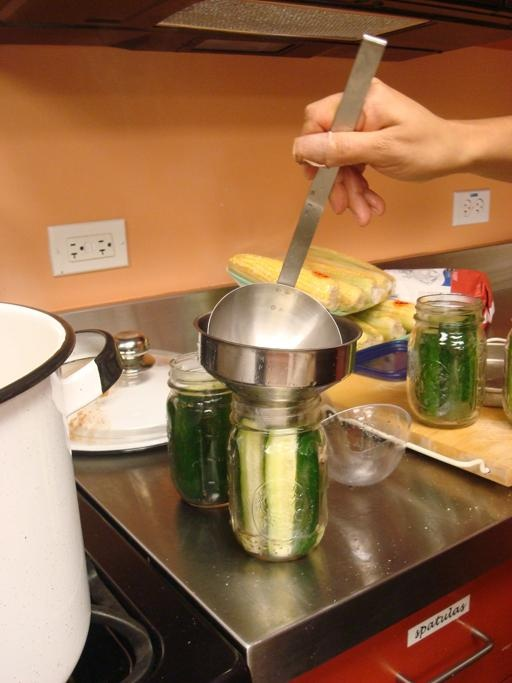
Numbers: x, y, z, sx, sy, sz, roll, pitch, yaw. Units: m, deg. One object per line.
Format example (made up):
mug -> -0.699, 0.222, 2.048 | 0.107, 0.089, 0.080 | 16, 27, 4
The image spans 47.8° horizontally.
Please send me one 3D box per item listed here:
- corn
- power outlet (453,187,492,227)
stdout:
corn -> 0.160, -0.123, 1.142 | 0.320, 0.183, 0.334 | -6, 20, -36
power outlet -> 0.594, -0.376, 1.600 | 0.127, 0.080, 0.009 | -12, 19, -35
